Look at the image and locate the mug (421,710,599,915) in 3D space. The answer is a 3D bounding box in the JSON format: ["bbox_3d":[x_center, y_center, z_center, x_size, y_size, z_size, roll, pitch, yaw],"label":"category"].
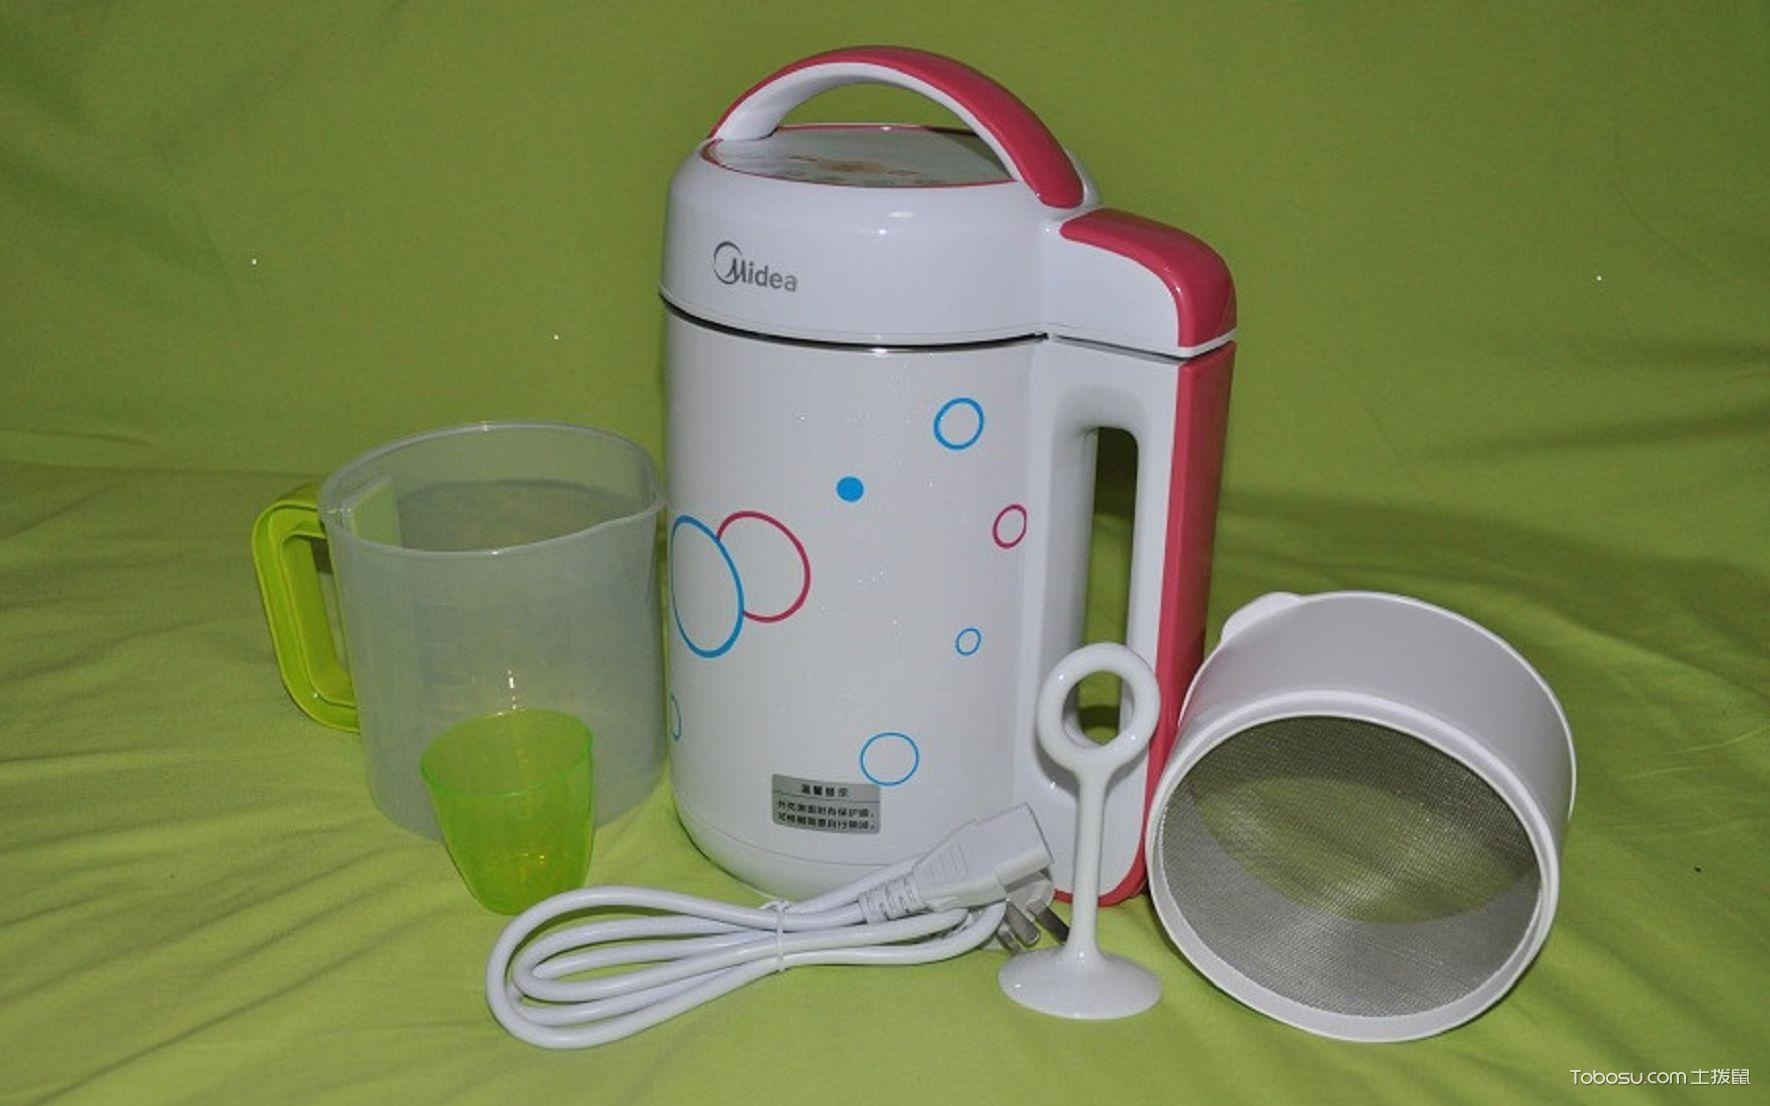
[{"bbox_3d":[-0.283,0.193,1.099,0.163,0.123,0.126,1,-21,-24],"label":"mug"}]

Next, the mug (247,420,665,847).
[{"bbox_3d":[-0.298,0.063,1.180,0.336,0.232,0.239,3,27,7],"label":"mug"}]
